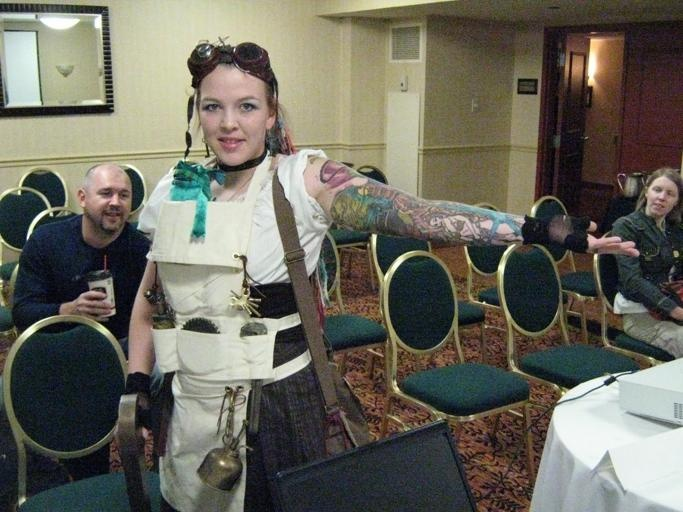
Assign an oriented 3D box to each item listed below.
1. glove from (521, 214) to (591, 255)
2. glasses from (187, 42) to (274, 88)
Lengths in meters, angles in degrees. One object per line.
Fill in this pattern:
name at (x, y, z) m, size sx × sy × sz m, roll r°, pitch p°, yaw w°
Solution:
glove at (0.419, -0.033, 1.043) m, size 0.113 × 0.069 × 0.042 m, roll 6°, pitch 6°, yaw 19°
glasses at (-0.251, -0.437, 1.207) m, size 0.196 × 0.108 × 0.101 m, roll -4°, pitch 13°, yaw -3°
